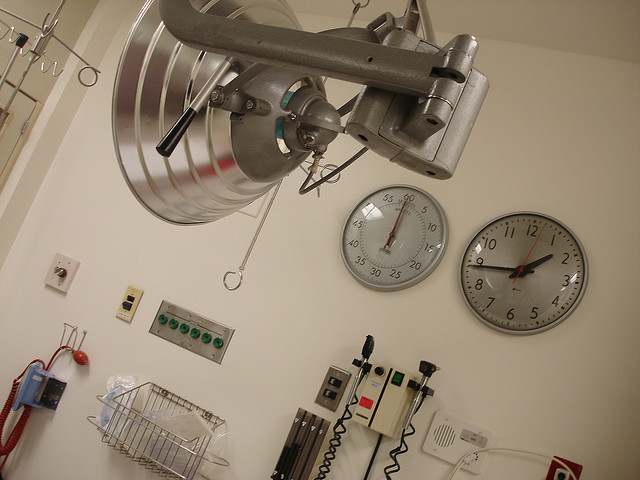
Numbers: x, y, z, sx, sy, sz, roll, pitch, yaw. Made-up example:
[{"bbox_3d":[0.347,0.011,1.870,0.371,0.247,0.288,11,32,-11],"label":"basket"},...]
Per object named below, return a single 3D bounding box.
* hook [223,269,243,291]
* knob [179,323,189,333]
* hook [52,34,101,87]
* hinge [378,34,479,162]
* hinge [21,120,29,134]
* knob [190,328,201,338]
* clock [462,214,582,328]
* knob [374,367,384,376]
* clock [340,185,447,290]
[{"bbox_3d":[-0.389,0.165,2.500,0.092,0.071,0.283,22,-14,-7],"label":"hook"},{"bbox_3d":[-0.641,0.411,2.611,0.052,0.034,0.009,15,-13,25],"label":"knob"},{"bbox_3d":[-1.235,-0.899,2.951,0.232,0.344,0.347,-2,9,-27],"label":"hook"},{"bbox_3d":[0.229,-0.320,1.167,0.149,0.256,0.092,19,-13,1],"label":"hinge"},{"bbox_3d":[-1.558,-0.606,2.924,0.014,0.090,0.012,26,-11,-26],"label":"hinge"},{"bbox_3d":[-0.586,0.431,2.595,0.046,0.033,0.011,15,-13,23],"label":"knob"},{"bbox_3d":[0.810,0.127,2.232,0.463,0.538,0.051,5,25,15],"label":"clock"},{"bbox_3d":[0.241,0.530,2.255,0.029,0.031,0.028,11,-9,27],"label":"knob"},{"bbox_3d":[0.336,-0.002,2.409,0.405,0.446,0.057,0,-15,20],"label":"clock"}]
